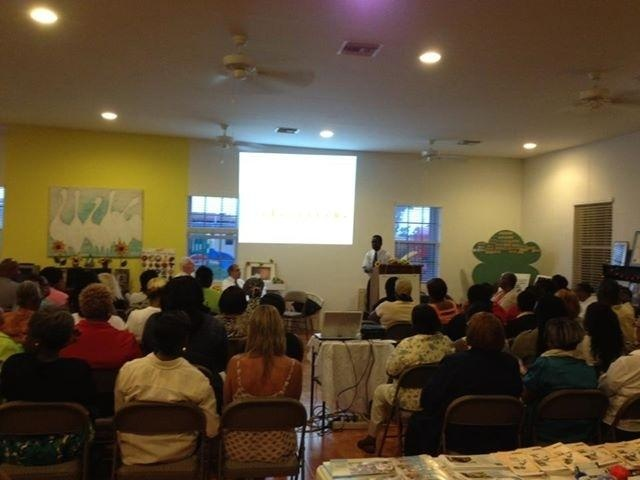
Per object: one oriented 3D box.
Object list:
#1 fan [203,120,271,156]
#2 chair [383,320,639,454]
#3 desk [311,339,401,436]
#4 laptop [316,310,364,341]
[{"bbox_3d":[-1.364,-1.605,8.081,0.768,0.311,0.724,1,4,31],"label":"fan"},{"bbox_3d":[1.276,1.057,3.540,1.224,1.179,0.980,0,-2,0],"label":"chair"},{"bbox_3d":[0.292,1.388,5.153,0.814,0.822,0.855,2,-1,-13],"label":"desk"},{"bbox_3d":[0.189,0.810,4.923,0.390,0.295,0.266,2,2,-3],"label":"laptop"}]
